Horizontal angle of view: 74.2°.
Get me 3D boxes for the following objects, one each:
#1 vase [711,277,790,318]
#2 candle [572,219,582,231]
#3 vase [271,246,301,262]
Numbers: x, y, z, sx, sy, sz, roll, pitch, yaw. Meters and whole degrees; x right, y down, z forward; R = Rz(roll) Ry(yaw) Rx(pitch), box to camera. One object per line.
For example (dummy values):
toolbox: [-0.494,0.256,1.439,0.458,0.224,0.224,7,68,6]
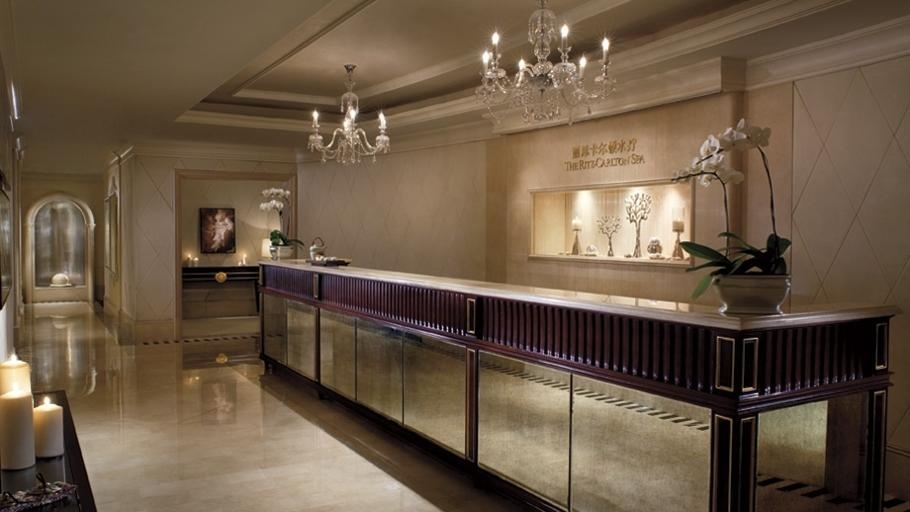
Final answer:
vase: [2.341,0.303,4.820,0.637,0.326,0.610,2,-3,2]
candle: [1.730,-0.447,8.702,0.157,0.157,0.151,3,4,1]
vase: [-2.688,-0.050,9.464,0.431,0.193,0.451,0,1,-7]
